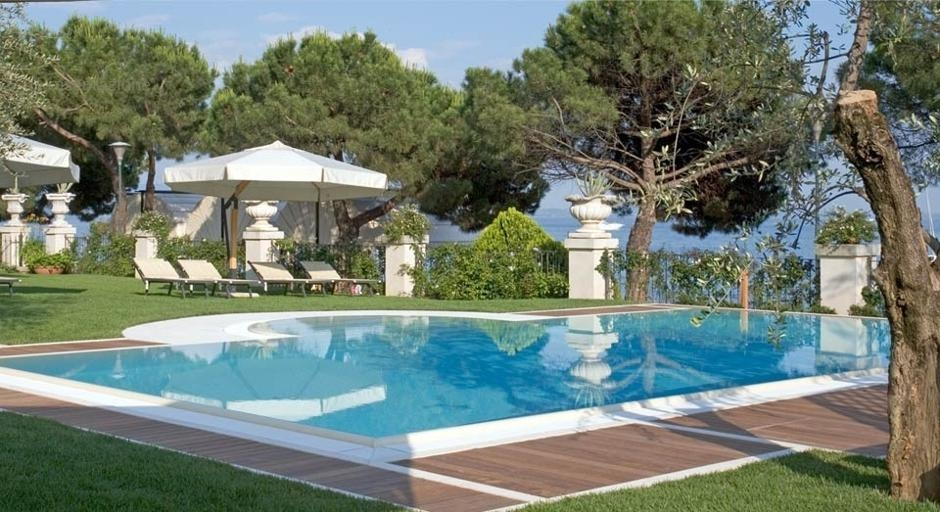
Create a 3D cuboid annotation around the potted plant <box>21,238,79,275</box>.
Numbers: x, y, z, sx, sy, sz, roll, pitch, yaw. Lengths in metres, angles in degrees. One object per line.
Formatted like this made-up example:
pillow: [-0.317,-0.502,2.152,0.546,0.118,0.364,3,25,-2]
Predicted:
potted plant: [-16.957,0.104,34.887,1.669,0.905,1.729,3,-4,-26]
